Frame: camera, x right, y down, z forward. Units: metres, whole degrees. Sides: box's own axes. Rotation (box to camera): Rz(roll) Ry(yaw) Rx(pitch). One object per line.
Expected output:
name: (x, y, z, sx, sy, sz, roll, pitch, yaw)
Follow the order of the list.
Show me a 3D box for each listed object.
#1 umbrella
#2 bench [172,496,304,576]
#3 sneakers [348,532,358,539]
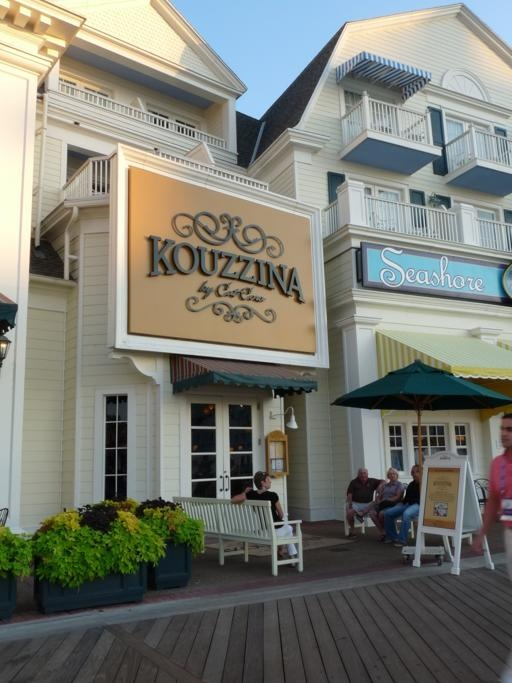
umbrella: (2.900, 1.163, 9.356, 2.408, 1.597, 2.327, 5, -8, -12)
bench: (-0.401, 2.744, 8.517, 0.564, 0.865, 2.190, 6, -15, -36)
sneakers: (1.819, 3.637, 10.915, 0.095, 0.088, 0.231, -11, -21, 28)
